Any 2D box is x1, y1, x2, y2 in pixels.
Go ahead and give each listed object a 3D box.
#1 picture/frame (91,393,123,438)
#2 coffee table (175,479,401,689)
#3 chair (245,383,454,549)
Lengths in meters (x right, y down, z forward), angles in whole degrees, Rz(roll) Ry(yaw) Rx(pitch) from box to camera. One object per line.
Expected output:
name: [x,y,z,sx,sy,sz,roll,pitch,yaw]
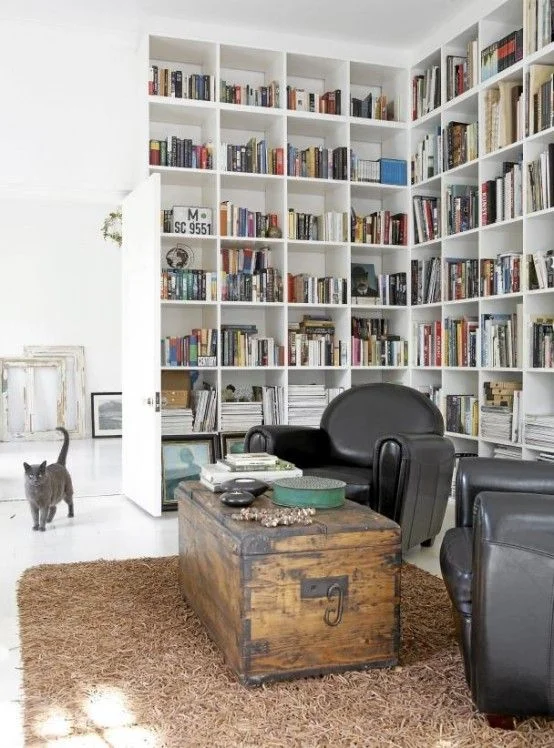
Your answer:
picture/frame: [-2.245,0.525,8.858,0.590,0.745,0.046,0,-2,-24]
coffee table: [0.045,0.463,2.035,0.385,0.359,0.746,-3,5,-19]
chair: [0.411,0.388,3.479,1.030,1.021,0.811,0,-2,44]
